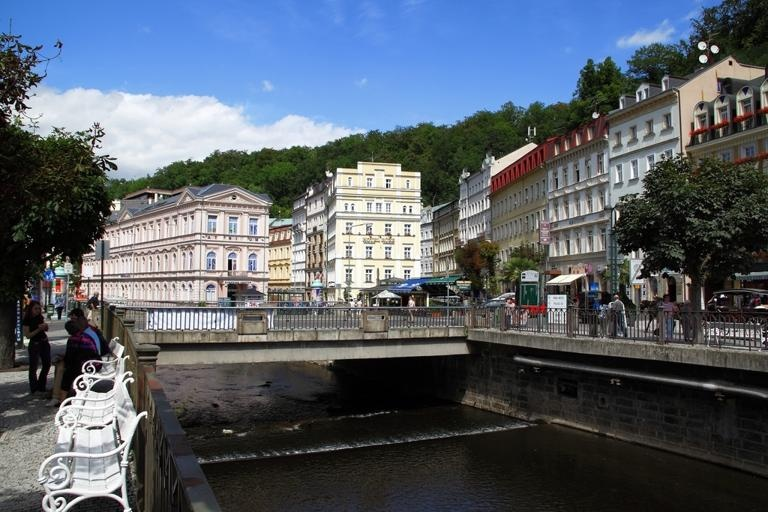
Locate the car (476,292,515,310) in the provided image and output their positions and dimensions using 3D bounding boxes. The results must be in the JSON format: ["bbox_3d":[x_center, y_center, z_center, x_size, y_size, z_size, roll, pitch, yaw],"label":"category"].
[{"bbox_3d":[7.259,2.831,46.595,2.976,1.018,1.442,2,-8,-11],"label":"car"}]
